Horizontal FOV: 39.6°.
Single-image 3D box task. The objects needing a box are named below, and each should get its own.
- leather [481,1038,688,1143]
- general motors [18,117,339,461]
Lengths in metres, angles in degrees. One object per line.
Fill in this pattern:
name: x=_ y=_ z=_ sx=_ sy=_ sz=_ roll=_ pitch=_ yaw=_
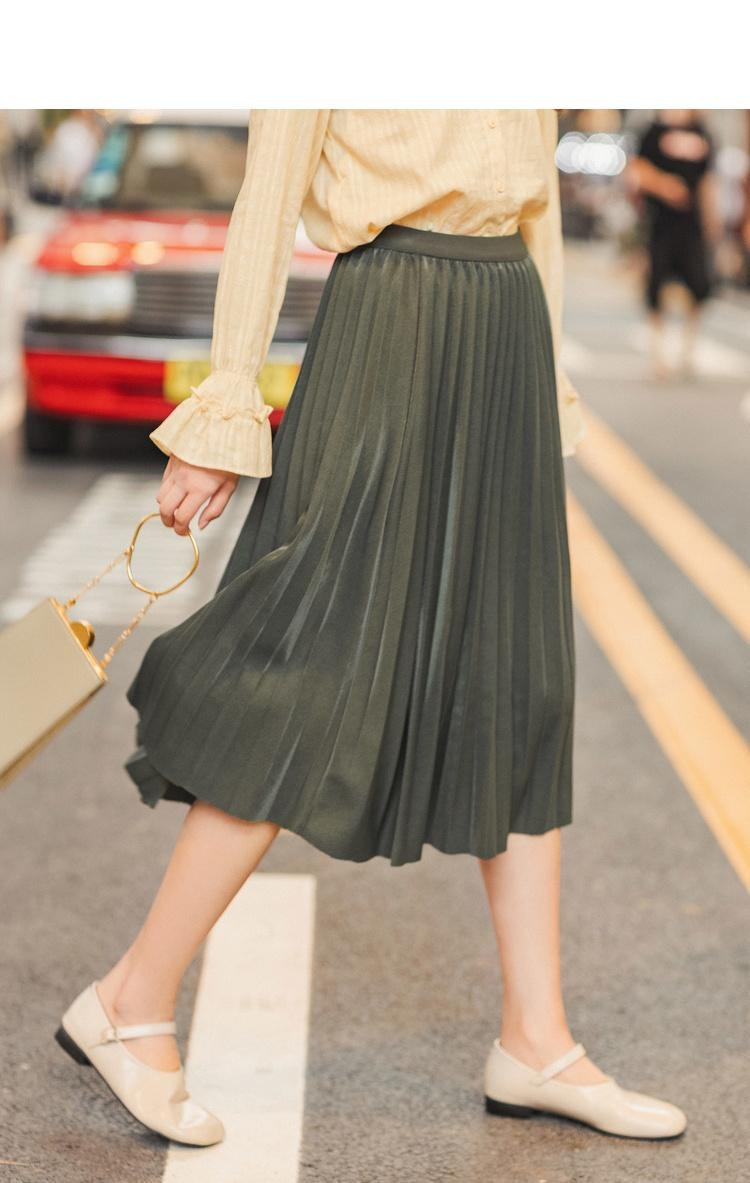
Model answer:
leather: x=0.279 y=0.704 z=1.500 sx=0.334 sy=0.121 sz=0.107 roll=4 pitch=8 yaw=9
general motors: x=-1.172 y=-2.008 z=6.190 sx=1.511 sy=1.523 sz=3.358 roll=-3 pitch=22 yaw=-12
